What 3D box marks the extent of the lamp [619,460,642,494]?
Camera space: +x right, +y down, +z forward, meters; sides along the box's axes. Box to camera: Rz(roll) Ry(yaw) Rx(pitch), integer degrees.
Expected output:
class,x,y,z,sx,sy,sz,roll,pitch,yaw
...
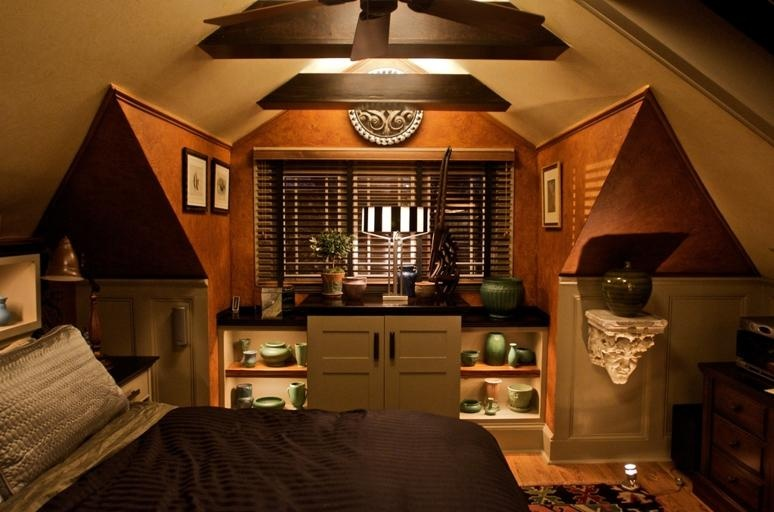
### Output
class,x,y,z,sx,sy,sz,roll,pitch,yaw
lamp,1.855,1.693,4.636,0.192,0.202,0.187,0,-5,8

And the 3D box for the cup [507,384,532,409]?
class,x,y,z,sx,sy,sz,roll,pitch,yaw
cup,1.169,1.228,5.325,0.185,0.139,0.191,1,0,0

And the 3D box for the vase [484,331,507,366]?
class,x,y,z,sx,sy,sz,roll,pitch,yaw
vase,0.940,0.817,5.336,0.208,0.276,0.206,3,-3,34

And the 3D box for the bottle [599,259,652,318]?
class,x,y,z,sx,sy,sz,roll,pitch,yaw
bottle,1.845,0.265,4.674,0.384,0.432,0.384,-1,0,20

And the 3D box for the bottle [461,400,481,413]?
class,x,y,z,sx,sy,sz,roll,pitch,yaw
bottle,0.748,1.303,5.279,0.113,0.043,0.111,0,-3,0

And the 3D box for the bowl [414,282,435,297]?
class,x,y,z,sx,sy,sz,roll,pitch,yaw
bowl,0.335,0.290,5.321,0.135,0.087,0.138,-3,3,0

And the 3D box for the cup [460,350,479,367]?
class,x,y,z,sx,sy,sz,roll,pitch,yaw
cup,0.726,0.889,5.275,0.138,0.094,0.135,1,-6,0

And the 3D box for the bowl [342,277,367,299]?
class,x,y,z,sx,sy,sz,roll,pitch,yaw
bowl,-0.285,0.280,5.280,0.196,0.152,0.191,1,-2,0

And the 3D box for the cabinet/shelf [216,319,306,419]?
class,x,y,z,sx,sy,sz,roll,pitch,yaw
cabinet/shelf,-0.994,0.957,5.302,0.861,0.787,0.472,1,1,-7

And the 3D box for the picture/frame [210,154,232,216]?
class,x,y,z,sx,sy,sz,roll,pitch,yaw
picture/frame,-1.407,-0.583,5.175,0.031,0.426,0.596,-2,10,-28

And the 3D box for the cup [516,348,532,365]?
class,x,y,z,sx,sy,sz,roll,pitch,yaw
cup,1.209,0.881,5.302,0.125,0.091,0.139,-1,-3,26

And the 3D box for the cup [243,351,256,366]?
class,x,y,z,sx,sy,sz,roll,pitch,yaw
cup,-1.174,0.879,5.212,0.120,0.120,0.124,-1,-1,0

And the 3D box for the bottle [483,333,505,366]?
class,x,y,z,sx,sy,sz,roll,pitch,yaw
bottle,0.947,0.799,5.287,0.256,0.340,0.251,1,0,0

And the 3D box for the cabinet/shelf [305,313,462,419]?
class,x,y,z,sx,sy,sz,roll,pitch,yaw
cabinet/shelf,-0.040,1.062,5.201,1.291,1.148,0.472,1,-4,-6

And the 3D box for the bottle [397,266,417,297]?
class,x,y,z,sx,sy,sz,roll,pitch,yaw
bottle,0.187,0.224,5.420,0.246,0.316,0.227,0,-5,0

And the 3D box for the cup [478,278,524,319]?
class,x,y,z,sx,sy,sz,roll,pitch,yaw
cup,1.020,0.373,5.322,0.409,0.310,0.380,1,4,0

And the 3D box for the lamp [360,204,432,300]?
class,x,y,z,sx,sy,sz,roll,pitch,yaw
lamp,0.057,-0.026,5.339,0.633,0.796,0.466,1,3,4
